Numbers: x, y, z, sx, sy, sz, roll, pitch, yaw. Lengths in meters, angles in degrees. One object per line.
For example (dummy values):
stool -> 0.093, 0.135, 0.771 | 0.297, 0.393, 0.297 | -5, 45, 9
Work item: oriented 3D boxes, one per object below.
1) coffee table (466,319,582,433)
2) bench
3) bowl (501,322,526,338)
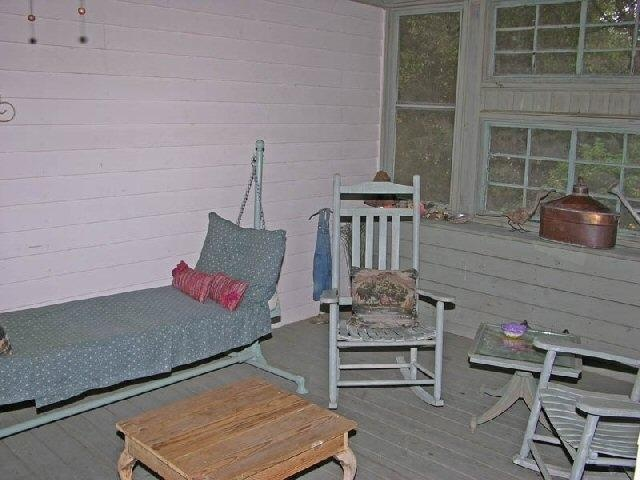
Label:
coffee table -> 1.214, 0.814, 3.060 | 0.804, 0.544, 0.754 | 1, 12, -2
bench -> -1.191, 0.304, 3.286 | 2.001, 1.433, 0.797 | -12, 20, -42
bowl -> 1.281, 0.591, 3.231 | 0.116, 0.064, 0.113 | 1, -4, 0
